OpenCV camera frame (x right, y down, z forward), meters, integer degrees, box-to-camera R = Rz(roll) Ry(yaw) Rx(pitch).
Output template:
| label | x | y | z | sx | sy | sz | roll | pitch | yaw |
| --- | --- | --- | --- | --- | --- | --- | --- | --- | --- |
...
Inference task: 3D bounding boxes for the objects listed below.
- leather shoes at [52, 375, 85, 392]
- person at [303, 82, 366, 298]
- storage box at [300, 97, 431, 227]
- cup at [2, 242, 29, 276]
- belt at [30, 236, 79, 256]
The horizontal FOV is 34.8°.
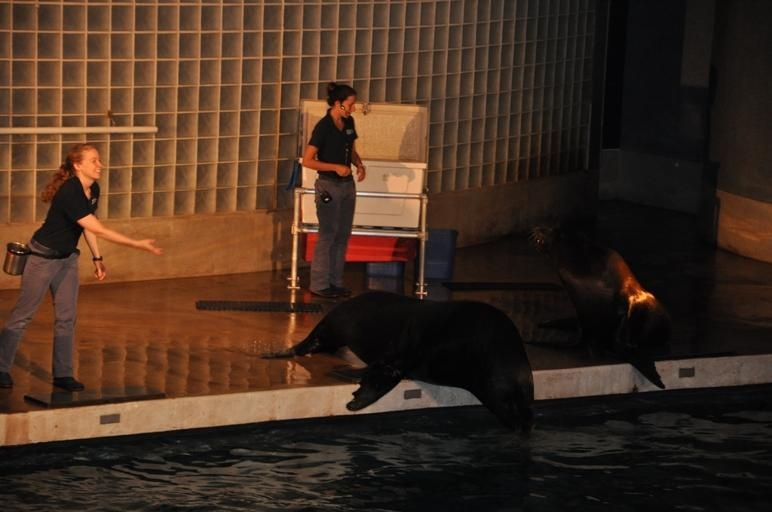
| label | x | y | z | sx | sy | sz | roll | pitch | yaw |
| --- | --- | --- | --- | --- | --- | --- | --- | --- | --- |
| leather shoes | -2.598 | 1.053 | 10.081 | 0.296 | 0.095 | 0.101 | 0 | 1 | 23 |
| person | -0.535 | -0.653 | 12.760 | 0.640 | 1.629 | 0.677 | -1 | 0 | -2 |
| storage box | -0.590 | -0.922 | 13.427 | 1.072 | 1.416 | 1.841 | 0 | 2 | 43 |
| cup | -3.013 | 0.025 | 10.026 | 0.153 | 0.163 | 0.221 | -1 | 0 | -35 |
| belt | -2.716 | -0.075 | 10.012 | 0.264 | 0.078 | 0.174 | 4 | 9 | 8 |
